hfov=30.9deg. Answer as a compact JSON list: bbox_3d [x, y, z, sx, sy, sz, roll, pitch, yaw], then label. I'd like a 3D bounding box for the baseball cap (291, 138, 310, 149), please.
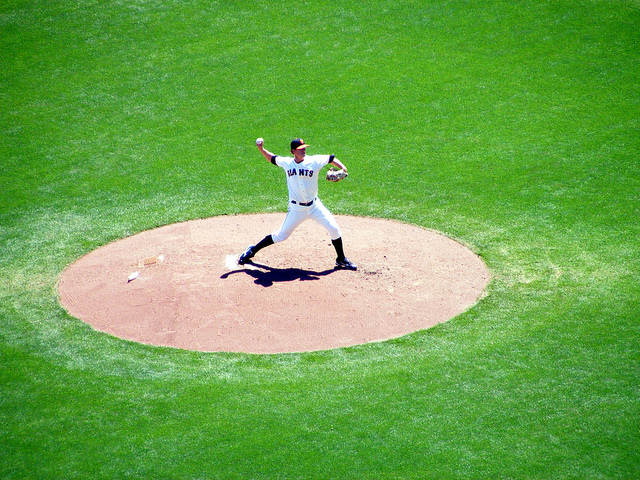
[{"bbox_3d":[-0.495,-2.250,27.445,0.409,0.183,0.262,4,29,13],"label":"baseball cap"}]

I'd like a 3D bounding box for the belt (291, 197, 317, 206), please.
[{"bbox_3d":[-0.437,-0.851,27.587,0.485,0.129,0.138,3,69,-9],"label":"belt"}]

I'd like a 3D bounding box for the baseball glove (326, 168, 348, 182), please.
[{"bbox_3d":[0.393,-1.518,27.593,0.458,0.191,0.247,2,77,12],"label":"baseball glove"}]

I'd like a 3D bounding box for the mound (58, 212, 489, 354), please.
[{"bbox_3d":[-0.884,0.884,28.229,10.868,0.494,6.318,-4,33,-21],"label":"mound"}]
